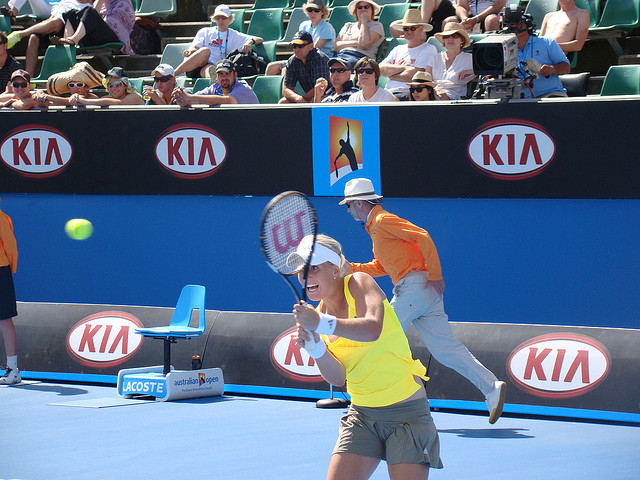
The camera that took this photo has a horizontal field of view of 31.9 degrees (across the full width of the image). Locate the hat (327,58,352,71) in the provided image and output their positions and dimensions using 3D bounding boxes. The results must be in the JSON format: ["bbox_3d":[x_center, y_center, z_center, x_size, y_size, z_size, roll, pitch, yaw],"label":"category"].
[{"bbox_3d":[0.241,-2.172,13.697,0.260,0.140,0.294,-2,13,-6],"label":"hat"}]

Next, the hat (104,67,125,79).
[{"bbox_3d":[-2.634,-2.158,14.410,0.241,0.128,0.276,-4,13,-12],"label":"hat"}]

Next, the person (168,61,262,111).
[{"bbox_3d":[-1.348,-1.858,13.873,0.723,0.615,1.072,0,1,42],"label":"person"}]

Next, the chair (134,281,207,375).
[{"bbox_3d":[-1.682,1.040,12.886,0.646,1.047,0.679,3,-2,28],"label":"chair"}]

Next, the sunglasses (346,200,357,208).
[{"bbox_3d":[0.337,-0.388,11.759,0.040,0.077,0.052,13,-7,-42],"label":"sunglasses"}]

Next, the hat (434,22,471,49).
[{"bbox_3d":[1.719,-2.592,14.087,0.337,0.176,0.401,-1,-29,33],"label":"hat"}]

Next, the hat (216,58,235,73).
[{"bbox_3d":[-1.185,-2.192,14.045,0.229,0.147,0.246,-2,13,-5],"label":"hat"}]

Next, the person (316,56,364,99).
[{"bbox_3d":[0.234,-2.054,13.850,0.408,0.399,0.740,2,30,33],"label":"person"}]

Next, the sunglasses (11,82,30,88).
[{"bbox_3d":[-3.712,-1.937,13.904,0.210,0.069,0.111,-4,13,-14],"label":"sunglasses"}]

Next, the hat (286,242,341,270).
[{"bbox_3d":[-0.014,0.182,8.990,0.321,0.119,0.214,23,-28,-31],"label":"hat"}]

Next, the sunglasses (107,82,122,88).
[{"bbox_3d":[-2.647,-2.003,14.385,0.227,0.070,0.080,8,16,34],"label":"sunglasses"}]

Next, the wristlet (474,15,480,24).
[{"bbox_3d":[2.174,-3.058,15.475,0.070,0.083,0.088,-3,45,11],"label":"wristlet"}]

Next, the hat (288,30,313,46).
[{"bbox_3d":[-0.259,-2.693,14.846,0.238,0.140,0.164,20,0,-37],"label":"hat"}]

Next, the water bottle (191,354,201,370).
[{"bbox_3d":[-1.443,1.438,13.069,0.129,0.248,0.135,0,-1,0],"label":"water bottle"}]

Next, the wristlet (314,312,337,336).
[{"bbox_3d":[0.046,0.647,8.893,0.156,0.164,0.145,24,-2,-26],"label":"wristlet"}]

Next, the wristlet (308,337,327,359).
[{"bbox_3d":[-0.021,0.865,9.022,0.125,0.133,0.132,-15,8,8],"label":"wristlet"}]

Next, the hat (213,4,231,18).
[{"bbox_3d":[-1.464,-3.416,16.669,0.252,0.162,0.415,-2,13,-5],"label":"hat"}]

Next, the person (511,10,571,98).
[{"bbox_3d":[2.579,-2.170,13.053,0.651,0.978,1.112,2,13,13],"label":"person"}]

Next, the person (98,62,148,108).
[{"bbox_3d":[-2.635,-2.111,15.125,0.594,0.542,3.466,-3,13,-8],"label":"person"}]

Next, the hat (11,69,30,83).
[{"bbox_3d":[-3.731,-2.041,13.941,0.214,0.141,0.213,-5,13,-17],"label":"hat"}]

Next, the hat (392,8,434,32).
[{"bbox_3d":[1.241,-2.861,14.552,0.398,0.301,0.460,-5,14,-18],"label":"hat"}]

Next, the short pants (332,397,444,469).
[{"bbox_3d":[0.551,1.569,9.090,0.865,0.558,0.277,1,12,9],"label":"short pants"}]

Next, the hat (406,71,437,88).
[{"bbox_3d":[1.221,-1.911,13.261,0.301,0.175,0.312,1,13,6],"label":"hat"}]

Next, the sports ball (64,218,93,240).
[{"bbox_3d":[-3.007,-0.135,13.921,0.259,0.289,0.150,-6,19,5],"label":"sports ball"}]

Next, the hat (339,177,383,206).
[{"bbox_3d":[0.432,-0.524,11.725,0.282,0.163,0.278,-6,-2,-16],"label":"hat"}]

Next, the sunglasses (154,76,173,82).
[{"bbox_3d":[-2.023,-2.088,14.458,0.234,0.079,0.095,2,13,10],"label":"sunglasses"}]
